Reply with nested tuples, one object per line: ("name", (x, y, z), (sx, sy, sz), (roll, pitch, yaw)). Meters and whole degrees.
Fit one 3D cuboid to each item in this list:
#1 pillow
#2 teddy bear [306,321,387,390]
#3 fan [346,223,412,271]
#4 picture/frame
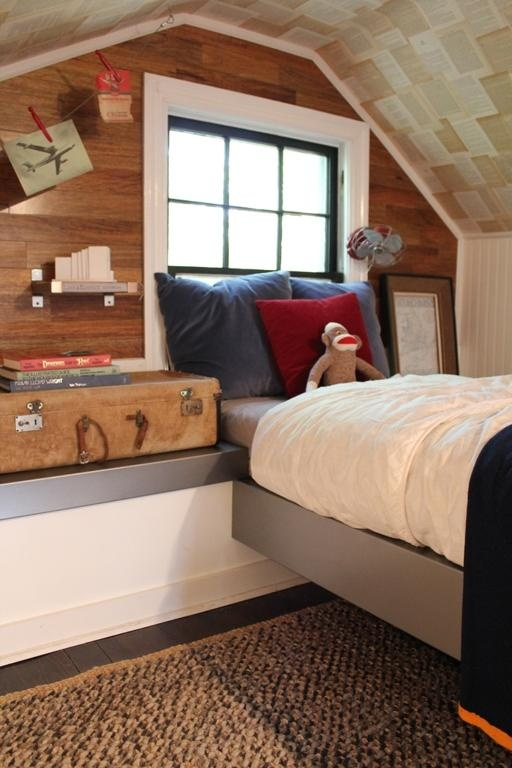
("pillow", (0.026, -0.175, 2.202), (0.589, 0.372, 0.208), (-2, -10, -25))
("teddy bear", (0.320, -0.097, 2.114), (0.246, 0.293, 0.093), (6, -24, -26))
("fan", (0.636, -0.712, 3.042), (0.282, 0.211, 0.180), (2, 3, -23))
("picture/frame", (0.905, -0.327, 3.262), (0.609, 0.709, 0.053), (-3, -4, -41))
